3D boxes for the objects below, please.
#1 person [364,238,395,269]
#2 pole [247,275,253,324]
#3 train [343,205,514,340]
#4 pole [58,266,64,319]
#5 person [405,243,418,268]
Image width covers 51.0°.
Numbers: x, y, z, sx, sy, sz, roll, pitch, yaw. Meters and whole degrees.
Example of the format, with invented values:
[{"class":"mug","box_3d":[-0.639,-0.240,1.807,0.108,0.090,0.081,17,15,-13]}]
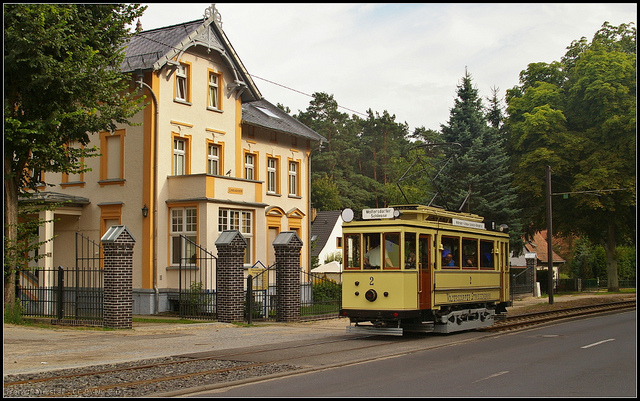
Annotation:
[{"class":"person","box_3d":[2.451,2.159,26.634,1.351,1.364,1.024,0,-7,12]},{"class":"pole","box_3d":[-3.295,4.540,31.250,0.203,2.089,0.684,0,2,-7]},{"class":"train","box_3d":[5.113,3.112,29.781,3.579,5.412,10.525,-4,-7,40]},{"class":"pole","box_3d":[-11.550,4.053,29.756,0.154,2.158,0.547,-1,2,-24]},{"class":"person","box_3d":[3.530,2.116,26.065,0.505,0.942,0.141,-1,2,-36]}]
